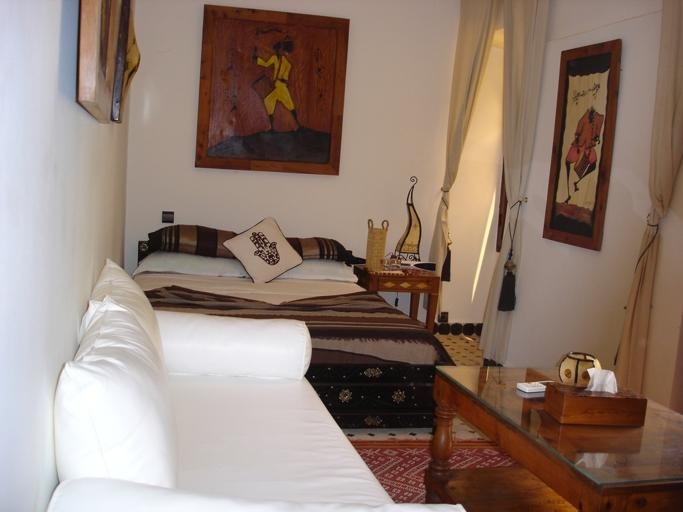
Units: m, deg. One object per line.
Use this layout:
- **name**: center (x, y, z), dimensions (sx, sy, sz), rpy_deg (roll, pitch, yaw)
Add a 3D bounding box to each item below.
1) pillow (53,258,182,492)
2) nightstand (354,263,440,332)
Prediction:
- **pillow**: center (-0.669, 0.350, 1.536), dimensions (0.128, 0.241, 0.623), rpy_deg (-12, 13, -12)
- **nightstand**: center (0.521, 0.226, 4.883), dimensions (0.674, 0.728, 0.604), rpy_deg (-2, 12, -9)
